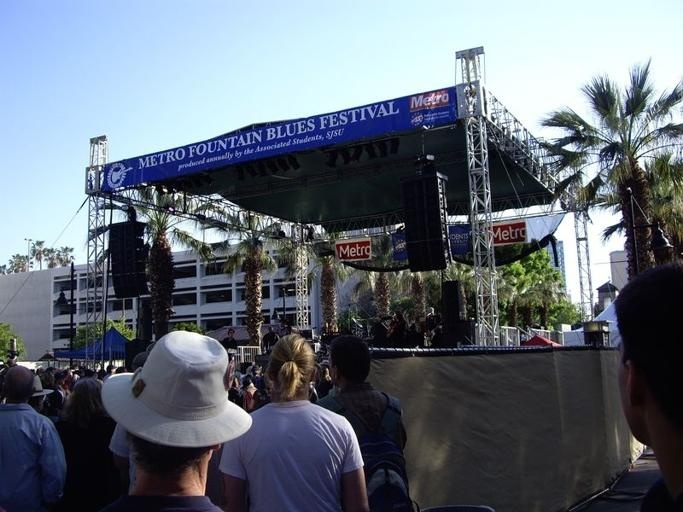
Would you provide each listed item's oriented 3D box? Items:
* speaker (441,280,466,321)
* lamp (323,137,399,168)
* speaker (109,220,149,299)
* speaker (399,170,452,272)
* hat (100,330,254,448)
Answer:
[{"bbox_3d":[2.800,1.117,17.180,0.575,0.970,0.912,1,-3,7],"label":"speaker"},{"bbox_3d":[0.486,-2.758,19.040,1.781,0.518,2.683,2,-3,-5],"label":"lamp"},{"bbox_3d":[-6.511,0.209,21.045,0.707,2.316,1.218,-4,-2,-4],"label":"speaker"},{"bbox_3d":[2.121,-0.855,16.551,1.025,2.262,0.803,-5,4,39],"label":"speaker"},{"bbox_3d":[-0.790,0.595,3.365,0.653,0.398,0.746,16,7,-6],"label":"hat"}]
